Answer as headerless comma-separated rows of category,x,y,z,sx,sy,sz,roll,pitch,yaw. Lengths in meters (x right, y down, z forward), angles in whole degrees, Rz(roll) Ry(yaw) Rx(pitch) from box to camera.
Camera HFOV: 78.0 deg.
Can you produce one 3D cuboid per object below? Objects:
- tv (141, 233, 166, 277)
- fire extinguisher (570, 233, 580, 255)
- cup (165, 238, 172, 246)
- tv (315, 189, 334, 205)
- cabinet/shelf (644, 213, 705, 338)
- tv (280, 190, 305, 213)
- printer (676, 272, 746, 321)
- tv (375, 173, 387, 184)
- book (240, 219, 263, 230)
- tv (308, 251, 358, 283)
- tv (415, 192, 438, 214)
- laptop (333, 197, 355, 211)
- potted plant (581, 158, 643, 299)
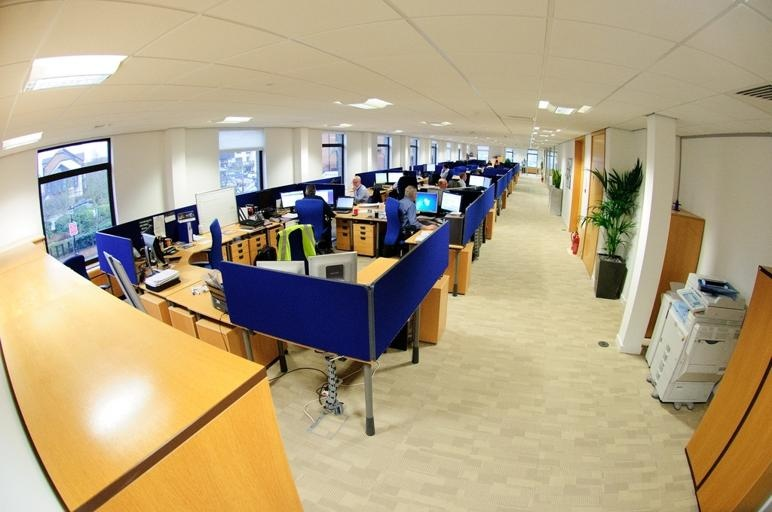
tv,-2.910,0.003,5.954,0.409,0.480,0.205,16,29,33
fire extinguisher,3.761,-0.222,9.489,0.130,0.359,0.438,5,15,18
cup,-2.965,-0.178,6.545,0.086,0.107,0.068,3,14,0
tv,-1.219,-1.201,9.613,0.393,0.369,0.299,0,3,1
cabinet/shelf,3.159,0.180,5.231,0.405,1.239,1.240,10,15,28
tv,-1.756,-1.000,8.934,0.149,0.368,0.528,10,15,43
printer,3.117,0.408,4.584,0.490,0.208,0.352,-2,27,-10
tv,-0.149,-2.219,13.655,0.038,0.262,0.372,9,18,40
book,-2.242,-0.523,7.926,0.212,0.063,0.215,5,18,18
tv,-0.506,0.123,4.595,0.301,0.298,0.103,-2,23,-13
tv,0.722,-0.946,8.628,0.446,0.430,0.060,3,15,15
laptop,-0.819,-1.030,9.507,0.334,0.257,0.223,3,6,3
potted plant,3.409,-0.430,7.295,0.583,2.042,1.015,4,15,15
